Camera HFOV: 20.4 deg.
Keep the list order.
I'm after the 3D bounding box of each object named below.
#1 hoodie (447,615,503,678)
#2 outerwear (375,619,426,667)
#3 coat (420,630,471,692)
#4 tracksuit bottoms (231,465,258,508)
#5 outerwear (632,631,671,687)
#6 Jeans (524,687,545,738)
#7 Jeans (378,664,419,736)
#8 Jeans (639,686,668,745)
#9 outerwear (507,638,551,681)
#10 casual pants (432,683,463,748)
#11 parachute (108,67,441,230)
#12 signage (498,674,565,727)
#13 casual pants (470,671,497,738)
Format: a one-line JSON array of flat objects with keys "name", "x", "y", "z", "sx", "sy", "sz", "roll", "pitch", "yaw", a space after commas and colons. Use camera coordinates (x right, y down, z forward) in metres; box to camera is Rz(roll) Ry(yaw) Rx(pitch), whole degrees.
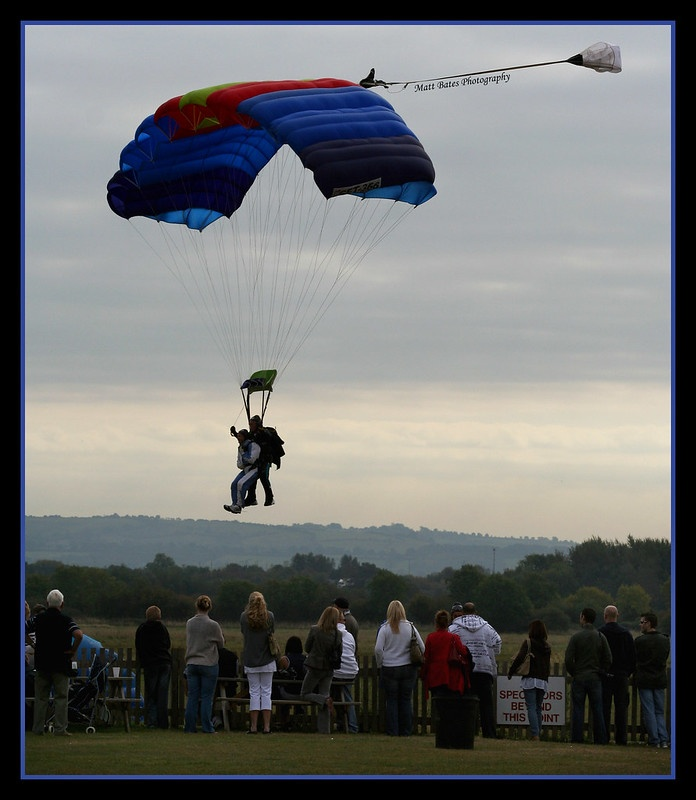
[{"name": "hoodie", "x": 1.295, "y": 2.571, "z": 20.195, "sx": 0.615, "sy": 0.662, "sz": 0.389, "roll": 2, "pitch": -17, "yaw": -14}, {"name": "outerwear", "x": 0.517, "y": 2.486, "z": 19.735, "sx": 0.490, "sy": 0.479, "sz": 0.379, "roll": -3, "pitch": -5, "yaw": 1}, {"name": "coat", "x": 0.930, "y": 2.565, "z": 18.933, "sx": 0.483, "sy": 0.615, "sz": 0.326, "roll": -5, "pitch": -5, "yaw": 20}, {"name": "tracksuit bottoms", "x": -1.129, "y": 0.950, "z": 21.174, "sx": 0.306, "sy": 0.441, "sz": 0.205, "roll": -2, "pitch": -5, "yaw": -8}, {"name": "outerwear", "x": 3.136, "y": 2.695, "z": 20.033, "sx": 0.364, "sy": 0.600, "sz": 0.220, "roll": -4, "pitch": -5, "yaw": 7}, {"name": "Jeans", "x": 1.945, "y": 3.228, "z": 20.031, "sx": 0.223, "sy": 0.522, "sz": 0.407, "roll": -3, "pitch": -5, "yaw": 5}, {"name": "Jeans", "x": 0.529, "y": 3.083, "z": 19.804, "sx": 0.359, "sy": 0.746, "sz": 0.453, "roll": -3, "pitch": -5, "yaw": -3}, {"name": "Jeans", "x": 3.145, "y": 3.262, "z": 19.929, "sx": 0.258, "sy": 0.593, "sz": 0.383, "roll": -4, "pitch": -5, "yaw": 9}, {"name": "outerwear", "x": 1.863, "y": 2.652, "z": 19.895, "sx": 0.585, "sy": 0.537, "sz": 0.381, "roll": 2, "pitch": 1, "yaw": 1}, {"name": "casual pants", "x": 0.921, "y": 3.080, "z": 18.858, "sx": 0.205, "sy": 0.615, "sz": 0.405, "roll": 0, "pitch": -6, "yaw": -33}, {"name": "parachute", "x": -1.086, "y": -2.843, "z": 22.678, "sx": 2.133, "sy": 1.672, "sz": 4.045, "roll": 1, "pitch": -6, "yaw": -38}, {"name": "signage", "x": 1.928, "y": 3.141, "z": 20.144, "sx": 0.674, "sy": 0.463, "sz": 0.068, "roll": 0, "pitch": -8, "yaw": 0}, {"name": "casual pants", "x": 1.421, "y": 3.174, "z": 20.173, "sx": 0.246, "sy": 0.690, "sz": 0.331, "roll": -4, "pitch": -5, "yaw": 5}]
